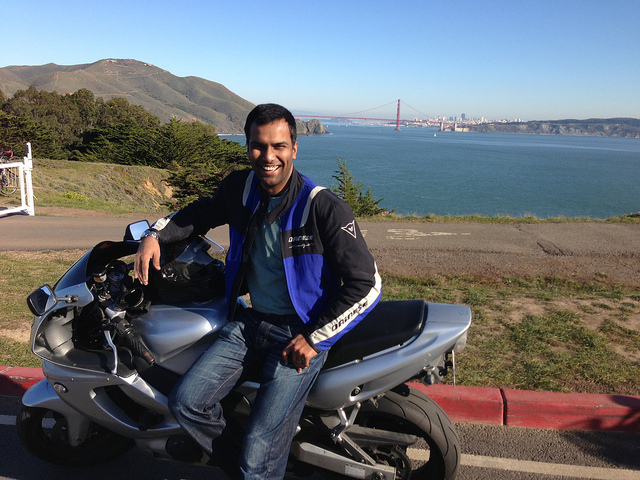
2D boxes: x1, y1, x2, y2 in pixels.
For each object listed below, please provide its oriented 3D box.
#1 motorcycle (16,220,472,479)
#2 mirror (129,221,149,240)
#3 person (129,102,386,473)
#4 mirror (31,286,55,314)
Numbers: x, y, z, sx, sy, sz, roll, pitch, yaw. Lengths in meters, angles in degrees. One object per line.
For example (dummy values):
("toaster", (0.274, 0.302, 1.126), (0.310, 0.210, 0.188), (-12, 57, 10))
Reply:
("motorcycle", (-0.633, 0.654, 3.901), (3.630, 1.957, 1.638), (4, 26, 9))
("mirror", (-1.302, -0.072, 3.306), (0.121, 0.119, 0.032), (-2, -17, -46))
("person", (-0.460, 0.310, 3.071), (1.503, 2.363, 0.947), (9, 15, 28))
("mirror", (-1.894, 0.419, 3.157), (0.147, 0.156, 0.110), (15, 18, 42))
